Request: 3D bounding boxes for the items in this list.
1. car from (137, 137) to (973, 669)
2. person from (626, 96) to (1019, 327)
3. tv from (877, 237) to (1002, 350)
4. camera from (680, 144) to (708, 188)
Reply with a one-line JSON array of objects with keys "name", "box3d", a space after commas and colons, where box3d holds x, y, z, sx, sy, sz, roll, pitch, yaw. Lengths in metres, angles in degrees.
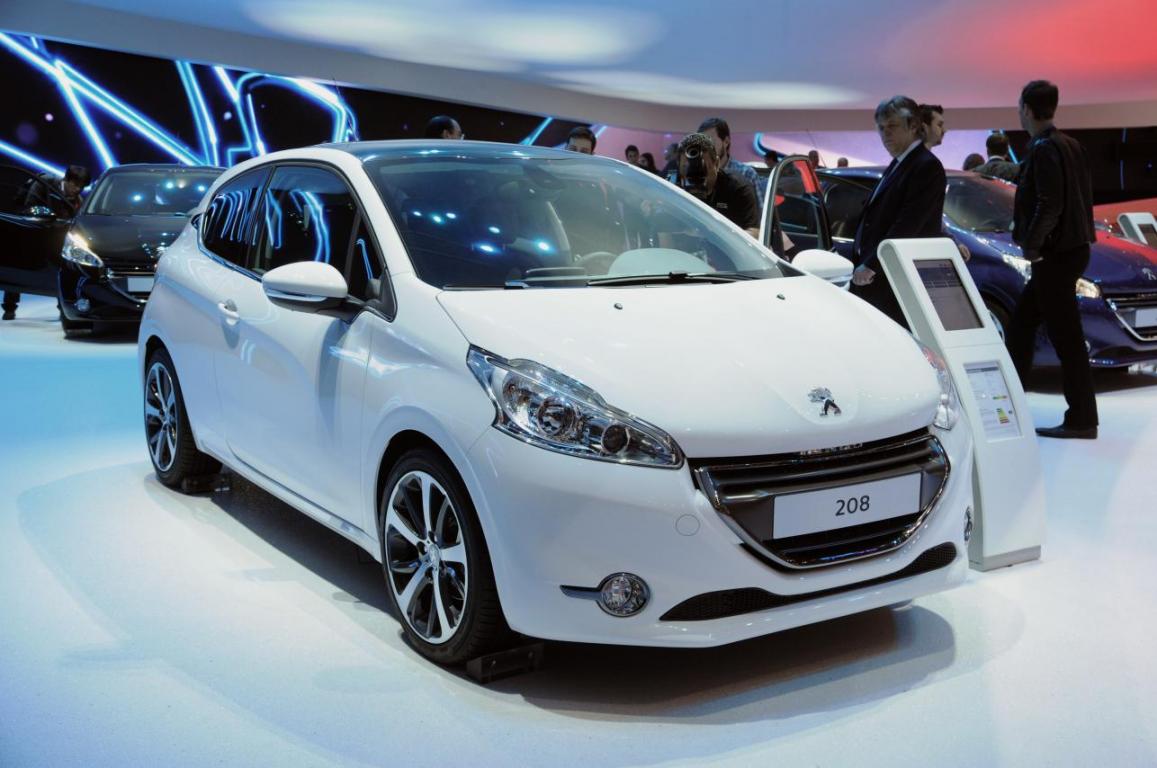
[{"name": "car", "box3d": [-0.410, -0.050, 2.896, 1.840, 1.251, 2.851, -5, 9, -38]}, {"name": "person", "box3d": [1.651, -1.302, 5.327, 2.179, 1.157, 1.233, 7, 14, 42]}, {"name": "tv", "box3d": [1.593, -0.436, 3.285, 0.560, 0.520, 0.130, -4, -16, -35]}, {"name": "camera", "box3d": [0.799, -1.494, 4.834, 0.158, 0.276, 0.261, -2, 28, 0]}]
